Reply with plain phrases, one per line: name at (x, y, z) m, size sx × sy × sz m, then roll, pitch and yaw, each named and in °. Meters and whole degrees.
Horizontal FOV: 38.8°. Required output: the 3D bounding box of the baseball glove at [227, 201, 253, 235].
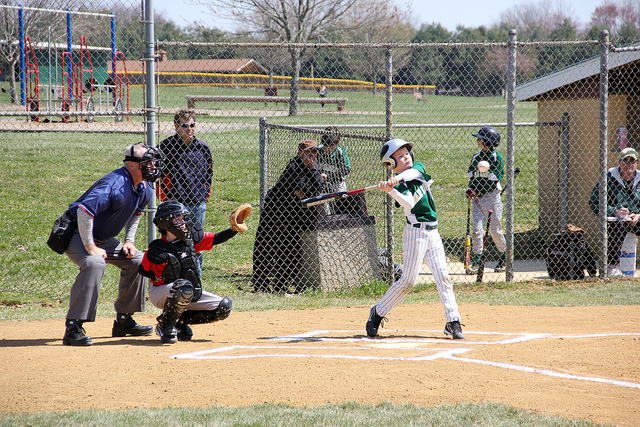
baseball glove at (-1.341, 0.099, 15.268) m, size 0.361 × 0.590 × 0.286 m, roll 38°, pitch -30°, yaw -29°

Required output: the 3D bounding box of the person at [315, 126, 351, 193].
person at (0.214, -0.842, 15.638) m, size 0.476 × 1.235 × 0.708 m, roll -1°, pitch 0°, yaw -13°

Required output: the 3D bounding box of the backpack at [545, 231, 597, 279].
backpack at (4.427, 0.732, 15.987) m, size 0.833 × 0.823 × 0.301 m, roll 0°, pitch 3°, yaw 14°
